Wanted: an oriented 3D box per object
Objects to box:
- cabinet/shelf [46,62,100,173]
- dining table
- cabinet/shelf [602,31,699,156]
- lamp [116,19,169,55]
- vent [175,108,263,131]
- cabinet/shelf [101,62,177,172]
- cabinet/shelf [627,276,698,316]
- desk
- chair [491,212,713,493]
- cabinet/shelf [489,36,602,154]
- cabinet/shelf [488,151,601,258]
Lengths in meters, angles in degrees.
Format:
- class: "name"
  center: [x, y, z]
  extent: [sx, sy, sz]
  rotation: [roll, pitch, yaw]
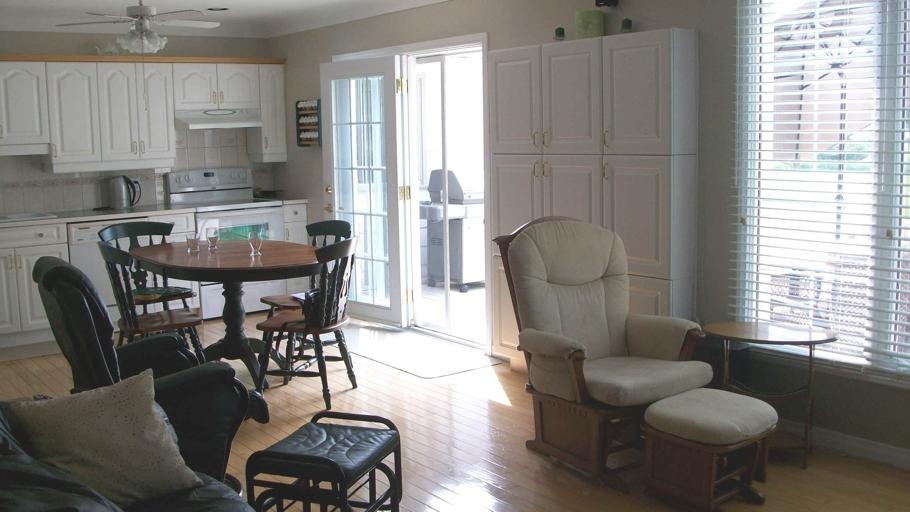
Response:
- class: "cabinet/shelf"
  center: [-4.027, -1.472, 6.725]
  extent: [0.561, 1.122, 0.142]
  rotation: [-9, 13, -23]
- class: "dining table"
  center: [-1.841, 0.156, 5.613]
  extent: [2.296, 1.314, 1.316]
  rotation: [9, 14, 41]
- class: "cabinet/shelf"
  center: [1.527, -1.268, 4.968]
  extent: [0.728, 0.945, 0.348]
  rotation: [-1, 12, 12]
- class: "lamp"
  center: [-2.624, -1.843, 5.308]
  extent: [0.293, 0.247, 0.324]
  rotation: [-12, 14, -39]
- class: "vent"
  center: [-2.779, -1.628, 7.499]
  extent: [0.979, 0.210, 0.218]
  rotation: [-7, 12, -22]
- class: "cabinet/shelf"
  center: [-3.491, -1.569, 7.059]
  extent: [0.785, 1.131, 0.196]
  rotation: [-9, 13, -23]
- class: "cabinet/shelf"
  center: [1.678, 0.332, 5.095]
  extent: [0.363, 0.457, 0.534]
  rotation: [1, -1, -33]
- class: "desk"
  center: [2.205, 0.935, 4.855]
  extent: [1.110, 1.016, 1.030]
  rotation: [2, 3, 42]
- class: "chair"
  center: [1.039, 0.619, 4.657]
  extent: [1.064, 1.723, 1.140]
  rotation: [-10, 13, -29]
- class: "cabinet/shelf"
  center: [0.805, -1.376, 5.430]
  extent: [1.263, 0.924, 0.483]
  rotation: [3, 4, 40]
- class: "cabinet/shelf"
  center: [0.776, -0.439, 5.249]
  extent: [0.378, 0.877, 1.069]
  rotation: [-2, 3, -44]
